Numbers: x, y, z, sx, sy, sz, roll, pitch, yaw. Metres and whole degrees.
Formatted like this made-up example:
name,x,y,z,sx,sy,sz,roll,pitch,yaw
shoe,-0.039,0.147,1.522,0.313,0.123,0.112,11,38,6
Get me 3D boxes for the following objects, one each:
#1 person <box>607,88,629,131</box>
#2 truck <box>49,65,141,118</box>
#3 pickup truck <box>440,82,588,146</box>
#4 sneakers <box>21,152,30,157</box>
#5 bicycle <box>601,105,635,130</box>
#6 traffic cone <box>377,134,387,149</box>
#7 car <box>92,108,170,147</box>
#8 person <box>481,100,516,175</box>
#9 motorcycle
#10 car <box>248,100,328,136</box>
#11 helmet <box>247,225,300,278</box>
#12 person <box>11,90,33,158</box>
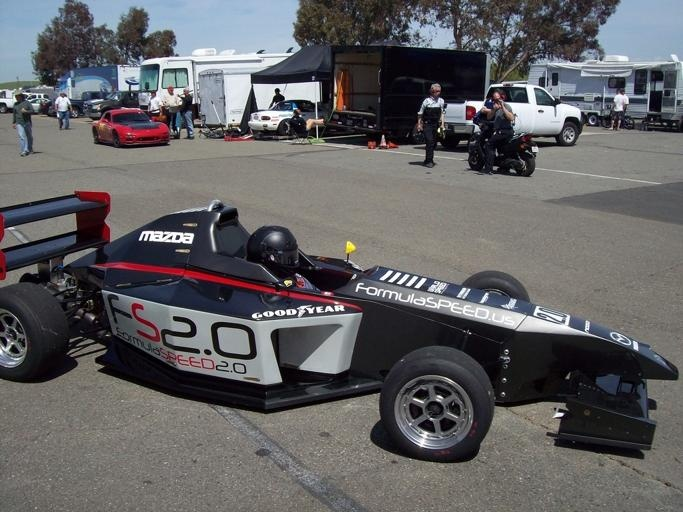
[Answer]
name,x,y,z,sx,sy,sz,roll,pitch,yaw
person,13.824,-7.319,28.342,0.701,1.988,1.543,8,16,24
truck,-18.569,-11.836,41.781,5.073,3.011,2.598,-8,6,-22
pickup truck,5.939,-4.984,20.056,4.683,2.079,2.621,-11,19,-23
sneakers,-10.390,-3.339,18.653,0.302,0.134,0.103,-28,40,-29
bicycle,14.273,-7.146,29.520,0.808,1.114,1.749,-2,18,-6
traffic cone,1.469,-4.136,20.434,0.339,0.477,0.870,2,16,4
car,-7.944,-4.791,21.346,2.978,1.288,1.727,15,20,38
person,3.964,-3.097,14.456,0.677,2.031,0.613,12,17,36
motorcycle,4.191,-2.897,14.956,0.872,1.400,2.064,-14,21,-38
car,-2.176,-5.784,23.626,1.495,1.220,3.343,10,15,44
helmet,-0.593,-0.061,4.749,0.405,0.398,0.355,4,12,6
person,-10.302,-4.271,18.445,0.525,1.969,1.342,-6,17,-28
